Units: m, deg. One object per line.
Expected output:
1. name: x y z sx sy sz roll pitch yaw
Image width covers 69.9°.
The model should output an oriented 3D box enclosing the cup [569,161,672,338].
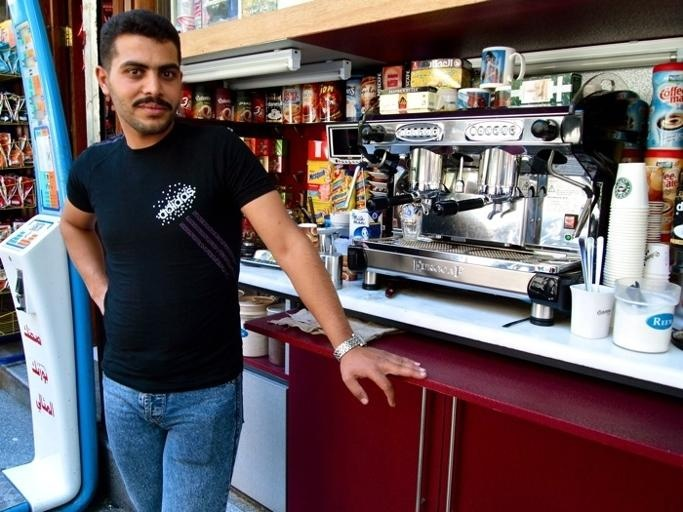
1. cup: 0.772 -0.018 1.333 0.217 0.457 0.263 10 17 26

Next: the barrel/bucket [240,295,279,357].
1. barrel/bucket: -0.371 0.300 2.103 0.235 0.210 0.219 1 6 0
